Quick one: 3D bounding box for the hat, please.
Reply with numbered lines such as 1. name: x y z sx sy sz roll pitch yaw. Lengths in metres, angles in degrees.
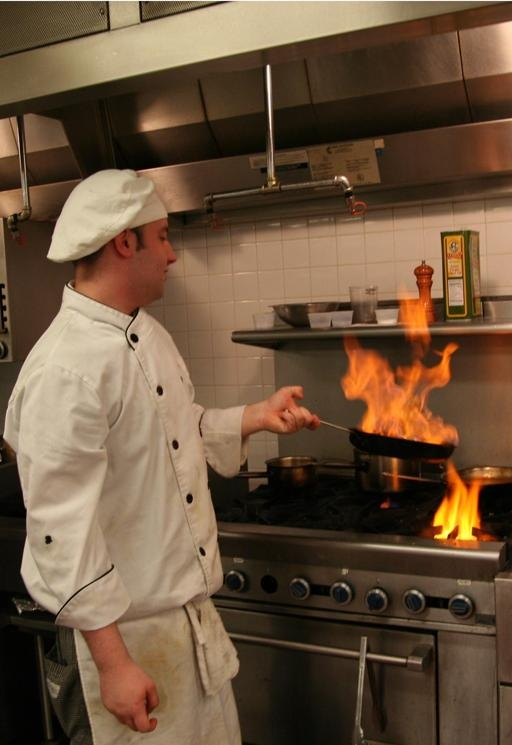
1. hat: -0.234 -0.227 1.107 0.179 0.090 0.156 -29 30 1
